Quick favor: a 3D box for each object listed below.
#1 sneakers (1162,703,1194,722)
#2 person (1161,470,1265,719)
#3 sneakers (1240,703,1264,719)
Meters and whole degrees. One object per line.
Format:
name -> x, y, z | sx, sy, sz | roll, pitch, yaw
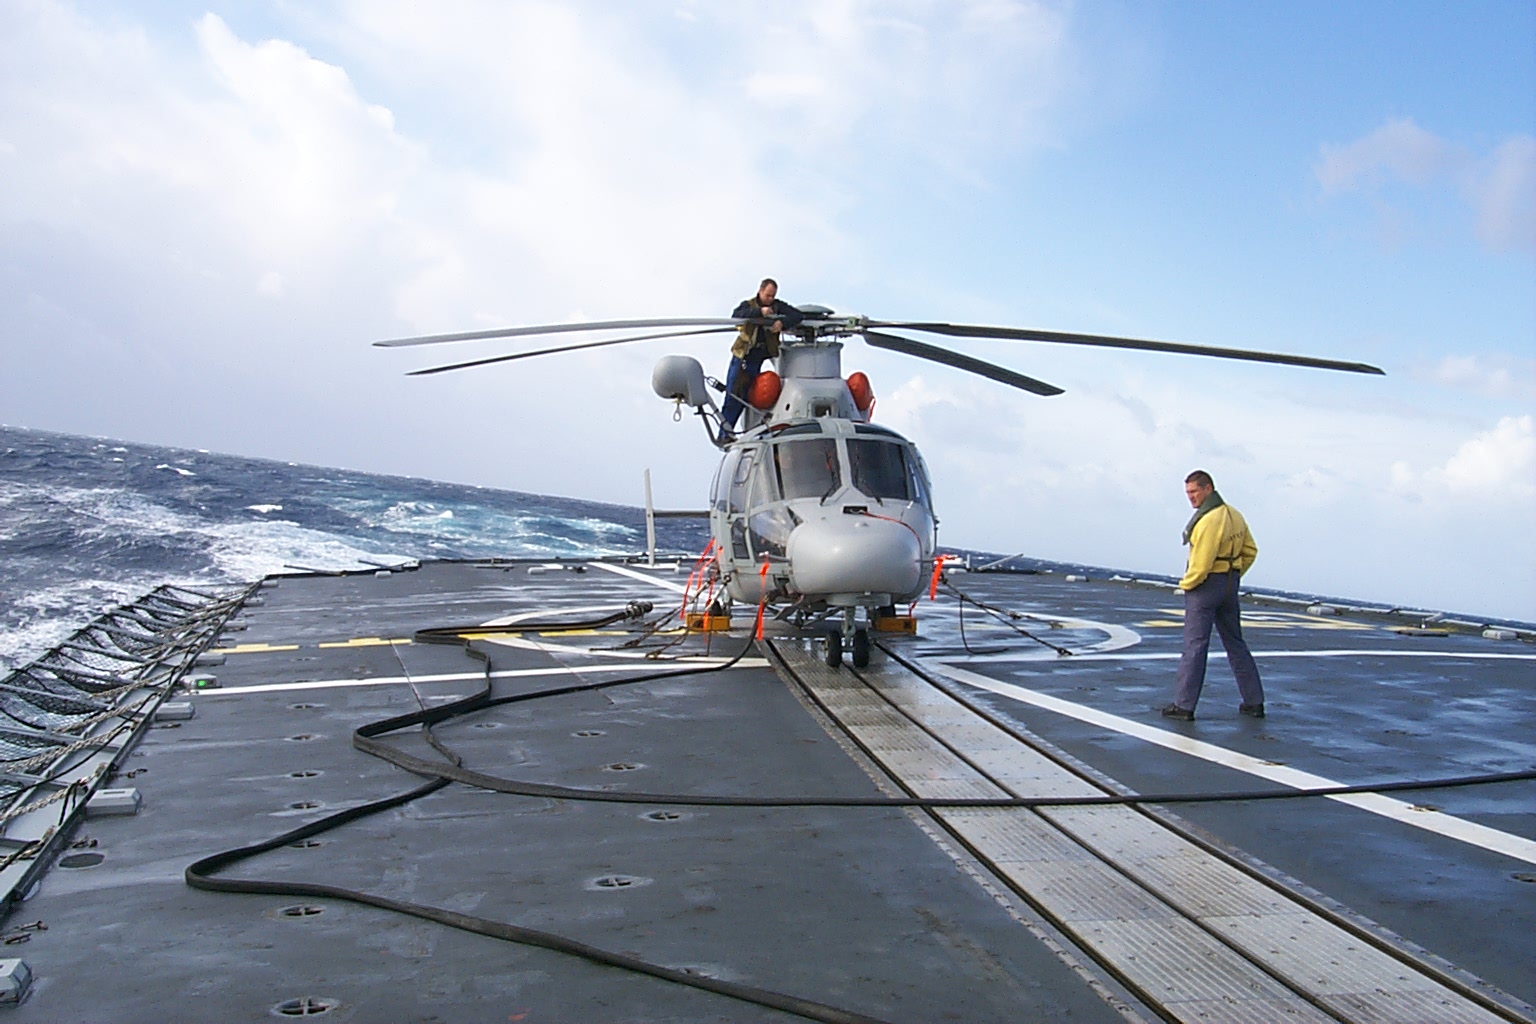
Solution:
sneakers -> 4.119, 2.011, 8.500 | 0.321, 0.102, 0.138 | 12, 12, 36
person -> 4.534, 0.836, 8.576 | 0.871, 2.626, 1.193 | 2, 0, 33
sneakers -> 4.997, 2.040, 8.715 | 0.133, 0.161, 0.201 | -1, 16, -9
